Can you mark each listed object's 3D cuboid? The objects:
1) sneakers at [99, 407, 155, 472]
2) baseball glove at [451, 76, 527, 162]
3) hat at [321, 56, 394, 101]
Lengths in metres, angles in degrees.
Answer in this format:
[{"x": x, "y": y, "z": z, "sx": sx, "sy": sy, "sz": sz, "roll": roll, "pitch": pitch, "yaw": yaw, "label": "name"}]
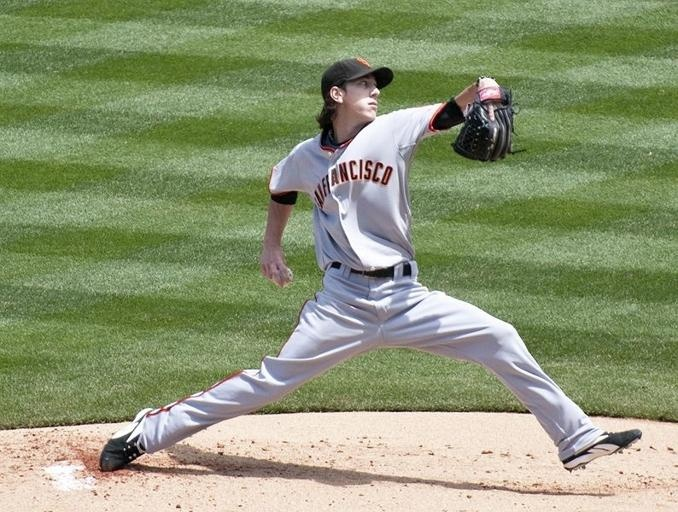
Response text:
[{"x": -1.773, "y": 1.497, "z": 11.798, "sx": 0.228, "sy": 0.201, "sz": 0.597, "roll": 20, "pitch": 59, "yaw": 46, "label": "sneakers"}, {"x": 1.209, "y": -1.114, "z": 11.655, "sx": 0.444, "sy": 0.494, "sz": 0.619, "roll": 21, "pitch": 32, "yaw": 2, "label": "baseball glove"}, {"x": 0.097, "y": -1.485, "z": 11.866, "sx": 0.574, "sy": 0.270, "sz": 0.418, "roll": -11, "pitch": 2, "yaw": 18, "label": "hat"}]
